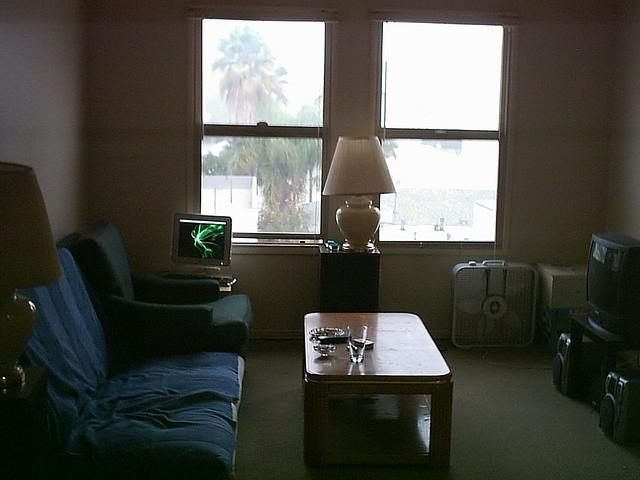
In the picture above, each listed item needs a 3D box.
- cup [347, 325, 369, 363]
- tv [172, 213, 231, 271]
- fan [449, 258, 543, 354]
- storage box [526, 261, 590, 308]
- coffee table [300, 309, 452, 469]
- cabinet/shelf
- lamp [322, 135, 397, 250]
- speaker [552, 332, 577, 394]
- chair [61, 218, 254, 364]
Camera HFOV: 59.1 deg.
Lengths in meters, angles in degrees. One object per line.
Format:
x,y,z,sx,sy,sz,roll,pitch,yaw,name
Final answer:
0.230,0.632,3.366,0.126,0.234,0.124,-1,2,0,cup
-0.955,0.000,4.485,0.403,0.398,0.047,3,3,7,tv
1.473,0.572,4.741,0.632,0.749,0.240,0,6,1,fan
1.938,0.335,4.629,0.303,0.336,0.323,-2,7,-10,storage box
0.303,0.887,3.483,0.827,0.552,0.883,0,12,-2,coffee table
0.206,0.223,4.635,0.426,0.896,0.455,-1,8,-4,cabinet/shelf
0.292,-0.354,4.320,0.527,0.847,0.324,2,11,8,lamp
1.742,0.858,3.954,0.158,0.365,0.194,3,8,2,speaker
-1.062,0.437,3.898,0.965,1.051,0.727,-4,8,-13,chair
